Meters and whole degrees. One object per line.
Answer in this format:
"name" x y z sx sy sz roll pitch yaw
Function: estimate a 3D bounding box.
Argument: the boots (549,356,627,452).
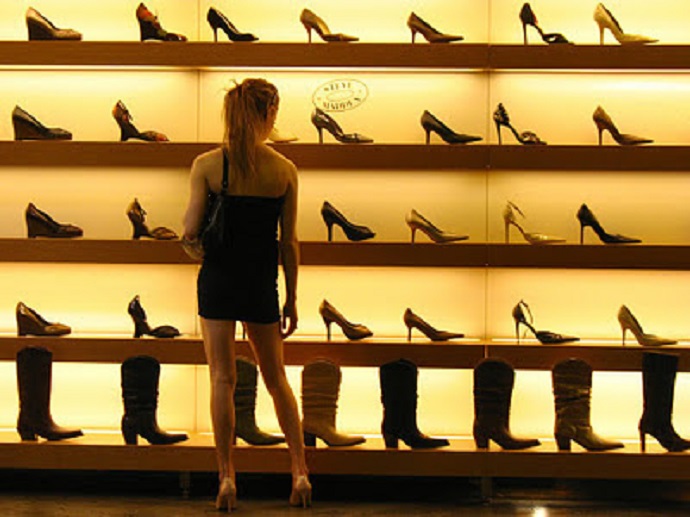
"boots" 1.442 0.890 5.127 0.389 0.457 0.407 -8 -43 8

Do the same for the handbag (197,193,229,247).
"handbag" -0.692 -0.198 4.531 0.105 0.261 0.271 8 -2 -10

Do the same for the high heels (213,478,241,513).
"high heels" -0.641 1.299 4.674 0.092 0.170 0.248 0 5 -12

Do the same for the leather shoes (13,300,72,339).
"leather shoes" -1.912 0.400 5.461 0.420 0.276 0.153 1 -3 -8

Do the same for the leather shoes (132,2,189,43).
"leather shoes" -1.120 -1.486 5.411 0.416 0.293 0.174 0 9 -5

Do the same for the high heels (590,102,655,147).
"high heels" 1.773 -0.841 5.427 0.360 0.234 0.134 6 4 29

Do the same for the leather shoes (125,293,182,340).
"leather shoes" -1.189 0.377 5.404 0.332 0.249 0.124 3 -1 -12

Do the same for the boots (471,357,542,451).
"boots" 0.946 0.873 5.127 0.381 0.471 0.416 -7 -43 7

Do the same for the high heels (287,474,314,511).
"high heels" -0.245 1.303 4.747 0.087 0.129 0.258 1 0 -8
